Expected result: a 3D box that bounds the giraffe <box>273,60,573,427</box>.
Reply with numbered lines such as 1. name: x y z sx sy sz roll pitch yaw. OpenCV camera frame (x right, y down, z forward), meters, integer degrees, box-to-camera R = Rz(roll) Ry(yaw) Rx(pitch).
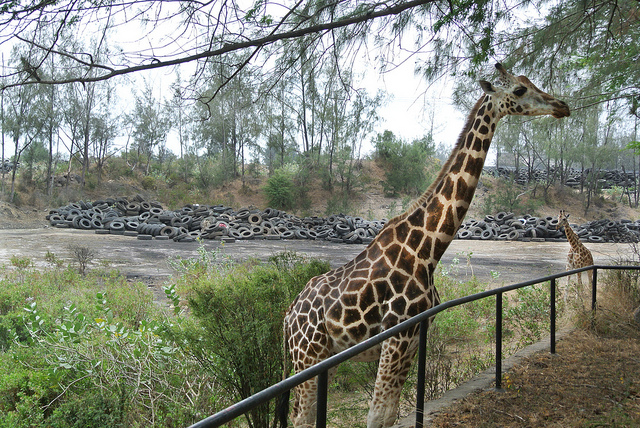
1. giraffe: 1.243 0.655 9.153 3.777 6.048 1.778 1 4 -12
